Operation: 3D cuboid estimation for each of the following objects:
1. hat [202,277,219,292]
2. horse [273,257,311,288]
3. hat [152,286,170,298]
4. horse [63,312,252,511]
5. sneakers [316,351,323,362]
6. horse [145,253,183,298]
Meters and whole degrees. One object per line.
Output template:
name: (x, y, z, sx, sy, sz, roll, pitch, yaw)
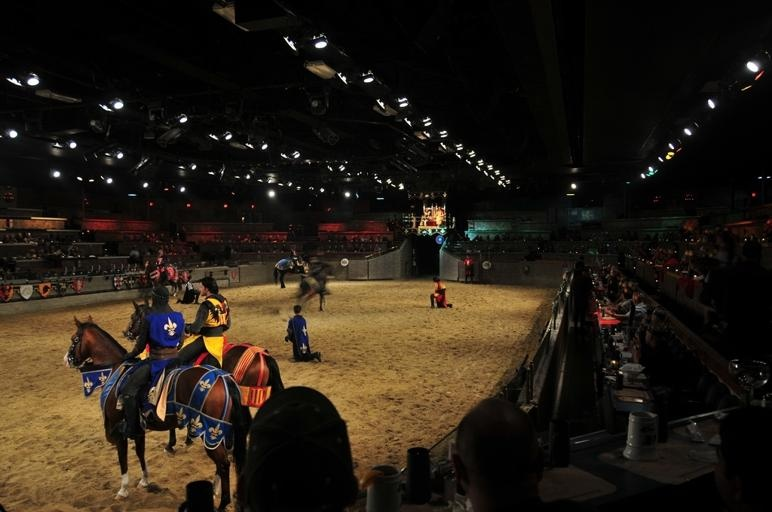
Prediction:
hat: (-3.249, 0.519, 10.060, 0.255, 0.314, 0.464, -2, 1, -17)
horse: (-5.023, 0.752, 29.415, 2.314, 1.649, 0.666, -7, -4, -29)
hat: (-3.930, 0.621, 9.616, 0.258, 0.207, 0.351, 0, 1, 42)
horse: (-3.795, 2.598, 9.213, 2.878, 2.958, 1.010, -1, 2, 25)
sneakers: (-1.780, 2.666, 14.544, 0.127, 0.294, 0.093, 0, -2, 14)
horse: (-10.657, 0.930, 25.703, 1.066, 2.009, 3.709, 1, -3, 9)
